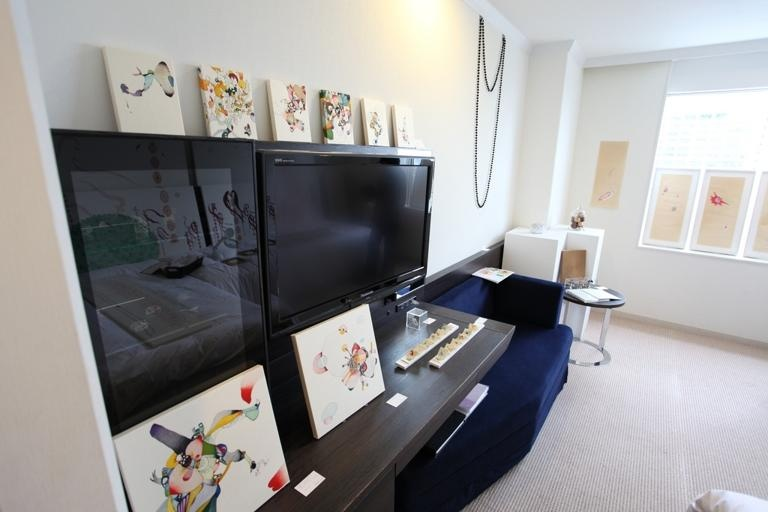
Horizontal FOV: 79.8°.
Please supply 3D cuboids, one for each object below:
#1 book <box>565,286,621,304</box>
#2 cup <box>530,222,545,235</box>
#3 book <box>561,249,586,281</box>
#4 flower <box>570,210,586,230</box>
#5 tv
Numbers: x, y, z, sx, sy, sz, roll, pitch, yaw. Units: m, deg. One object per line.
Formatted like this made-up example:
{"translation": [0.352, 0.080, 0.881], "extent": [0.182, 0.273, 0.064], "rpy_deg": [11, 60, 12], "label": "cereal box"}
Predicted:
{"translation": [1.620, 0.309, 3.606], "extent": [0.361, 0.023, 0.304], "rpy_deg": [-1, 17, -7], "label": "book"}
{"translation": [1.351, -0.246, 4.057], "extent": [0.114, 0.081, 0.124], "rpy_deg": [1, 17, 0], "label": "cup"}
{"translation": [1.633, 0.082, 3.972], "extent": [0.238, 0.337, 0.043], "rpy_deg": [-4, 14, -5], "label": "book"}
{"translation": [1.783, -0.337, 4.191], "extent": [0.169, 0.177, 0.118], "rpy_deg": [-3, 17, -15], "label": "flower"}
{"translation": [-0.181, -0.062, 2.007], "extent": [0.073, 0.622, 0.887], "rpy_deg": [15, 21, 37], "label": "tv"}
